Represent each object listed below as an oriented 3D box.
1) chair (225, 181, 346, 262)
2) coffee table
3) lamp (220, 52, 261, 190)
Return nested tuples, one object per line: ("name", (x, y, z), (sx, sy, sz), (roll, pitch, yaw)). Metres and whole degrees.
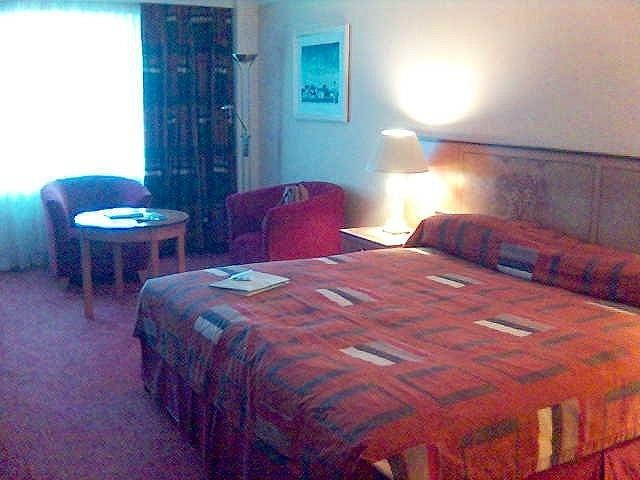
("chair", (-0.355, -0.176, 4.798), (0.923, 0.771, 0.900), (-5, 10, -35))
("coffee table", (-1.656, 0.143, 4.474), (1.039, 0.846, 0.949), (4, 14, 16))
("lamp", (-0.939, -1.405, 5.886), (0.432, 1.655, 0.656), (-2, 13, -8))
